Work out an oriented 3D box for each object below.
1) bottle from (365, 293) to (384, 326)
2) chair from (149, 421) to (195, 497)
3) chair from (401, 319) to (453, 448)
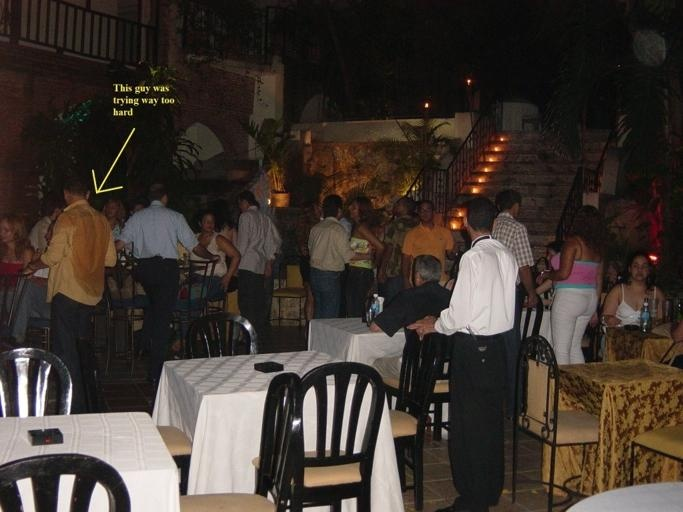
[{"bbox_3d":[0.328,0.517,7.578,0.082,0.274,0.178,14,2,-26],"label":"bottle"},{"bbox_3d":[-1.189,1.506,5.711,0.272,0.470,0.297,-2,-27,-9],"label":"chair"},{"bbox_3d":[0.727,1.130,6.798,0.513,0.910,0.605,-2,-7,9],"label":"chair"}]
